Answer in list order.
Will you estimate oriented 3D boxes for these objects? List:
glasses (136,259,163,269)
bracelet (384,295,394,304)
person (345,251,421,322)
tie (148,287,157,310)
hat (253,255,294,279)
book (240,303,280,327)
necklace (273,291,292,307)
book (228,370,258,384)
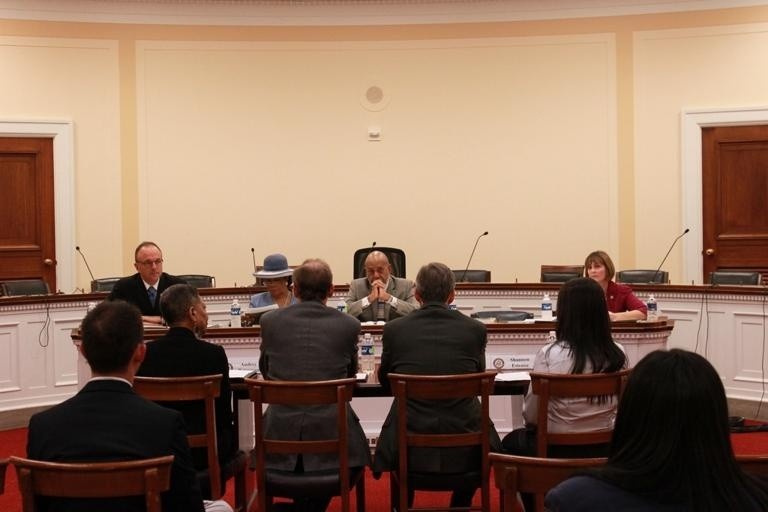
[{"bbox_3d":[-2.007,0.059,5.693,0.206,0.074,0.101,-2,4,-15],"label":"glasses"},{"bbox_3d":[0.040,0.362,5.529,0.068,0.038,0.090,-1,-7,7],"label":"bracelet"},{"bbox_3d":[-0.028,0.480,5.855,0.637,1.017,0.539,-3,1,0],"label":"person"},{"bbox_3d":[-1.986,0.368,5.756,0.091,0.173,0.042,-6,-9,-18],"label":"tie"},{"bbox_3d":[-0.862,0.104,5.439,0.239,0.115,0.274,0,0,2],"label":"hat"},{"bbox_3d":[-0.979,0.454,5.171,0.252,0.116,0.322,0,-4,-30],"label":"book"},{"bbox_3d":[-0.825,0.347,5.490,0.135,0.133,0.174,-2,2,2],"label":"necklace"},{"bbox_3d":[-0.936,0.790,4.407,0.128,0.032,0.138,0,0,3],"label":"book"}]
